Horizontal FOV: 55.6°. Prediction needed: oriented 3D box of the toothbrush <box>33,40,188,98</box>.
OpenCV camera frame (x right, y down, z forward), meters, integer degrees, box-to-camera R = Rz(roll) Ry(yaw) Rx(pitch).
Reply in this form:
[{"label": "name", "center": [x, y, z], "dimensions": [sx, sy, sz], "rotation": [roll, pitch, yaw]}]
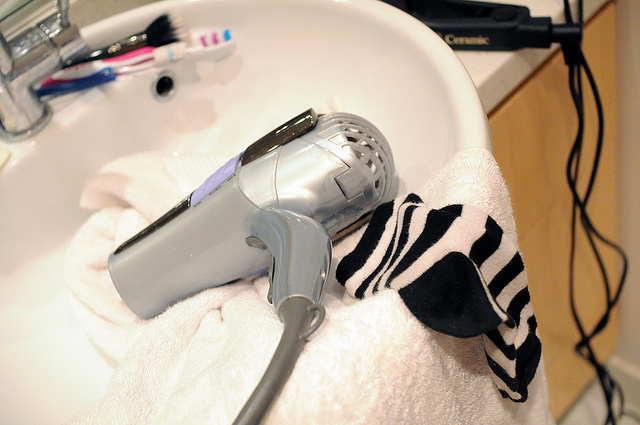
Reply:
[{"label": "toothbrush", "center": [-0.268, -0.183, 0.756], "dimensions": [0.134, 0.019, 0.027], "rotation": [-22, 62, -5]}]
